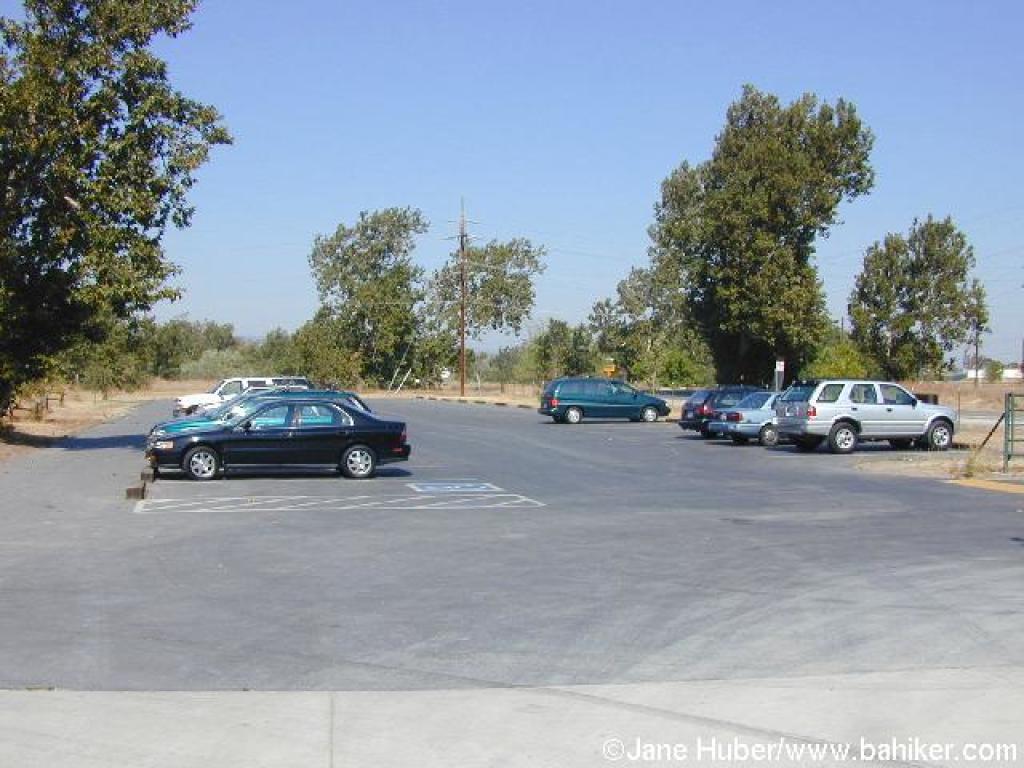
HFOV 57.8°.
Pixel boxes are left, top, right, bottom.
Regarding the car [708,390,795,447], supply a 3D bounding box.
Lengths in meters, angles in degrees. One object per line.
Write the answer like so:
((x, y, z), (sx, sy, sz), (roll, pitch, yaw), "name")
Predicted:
((7.903, 1.258, 31.309), (2.240, 0.914, 1.310), (-4, 6, -18), "car")

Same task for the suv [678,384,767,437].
((7.792, 0.872, 34.361), (3.112, 1.252, 1.371), (-4, 5, -23), "suv")

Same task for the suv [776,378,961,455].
((10.947, 0.978, 28.600), (5.364, 2.180, 1.652), (0, 1, -9), "suv")
